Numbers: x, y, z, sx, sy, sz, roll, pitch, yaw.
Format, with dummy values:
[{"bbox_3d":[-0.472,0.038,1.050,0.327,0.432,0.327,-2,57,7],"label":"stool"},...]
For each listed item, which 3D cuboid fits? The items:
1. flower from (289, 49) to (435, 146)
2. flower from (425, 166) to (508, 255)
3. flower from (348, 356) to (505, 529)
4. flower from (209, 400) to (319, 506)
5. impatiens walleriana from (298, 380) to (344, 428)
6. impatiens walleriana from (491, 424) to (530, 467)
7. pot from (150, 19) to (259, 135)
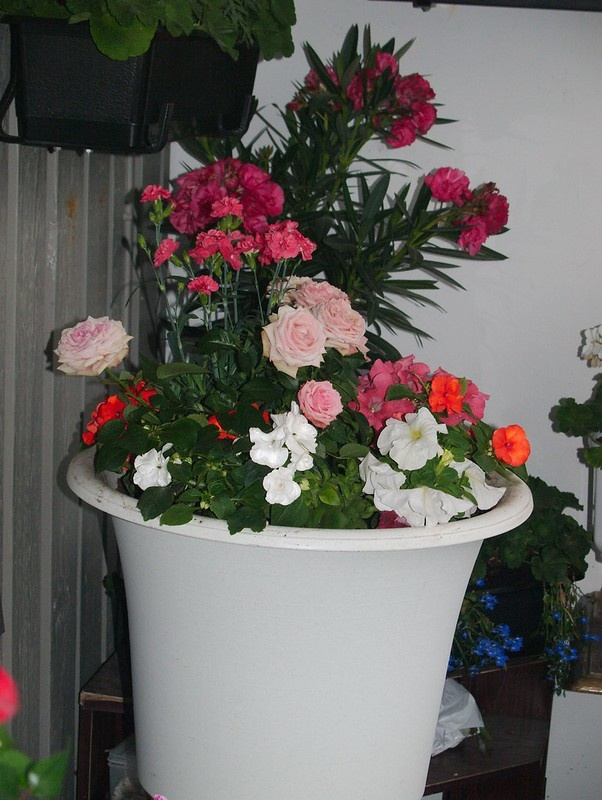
[{"bbox_3d":[0.115,-0.533,1.508,0.256,0.167,0.133,-6,-19,8],"label":"flower"},{"bbox_3d":[0.301,-0.325,1.460,0.123,0.145,0.191,15,17,40],"label":"flower"},{"bbox_3d":[0.128,0.055,0.939,0.218,0.171,0.109,5,-9,-10],"label":"flower"},{"bbox_3d":[-0.028,0.050,0.815,0.089,0.086,0.049,-30,12,-27],"label":"flower"},{"bbox_3d":[0.016,0.007,0.841,0.047,0.045,0.023,-25,-6,-15],"label":"impatiens walleriana"},{"bbox_3d":[0.227,0.051,0.912,0.044,0.043,0.020,43,11,1],"label":"impatiens walleriana"},{"bbox_3d":[-0.121,-0.360,0.992,0.161,0.105,0.122,-4,14,-29],"label":"pot"}]
